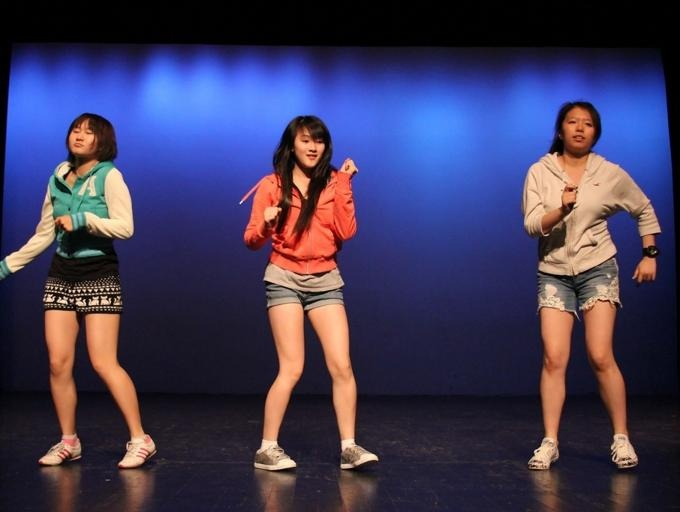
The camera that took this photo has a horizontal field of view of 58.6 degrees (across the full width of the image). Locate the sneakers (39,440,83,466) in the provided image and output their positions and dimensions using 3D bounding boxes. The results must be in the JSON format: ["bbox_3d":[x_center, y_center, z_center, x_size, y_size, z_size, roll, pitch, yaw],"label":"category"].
[{"bbox_3d":[-1.544,1.066,3.295,0.090,0.110,0.254,-7,-9,35],"label":"sneakers"}]

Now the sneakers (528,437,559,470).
[{"bbox_3d":[1.123,1.070,3.313,0.107,0.130,0.313,-3,0,43],"label":"sneakers"}]

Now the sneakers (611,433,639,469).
[{"bbox_3d":[1.566,1.050,3.282,0.185,0.163,0.153,0,-2,-3],"label":"sneakers"}]

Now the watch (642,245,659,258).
[{"bbox_3d":[1.751,-0.022,3.426,0.086,0.053,0.094,1,1,-4],"label":"watch"}]

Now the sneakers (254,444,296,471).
[{"bbox_3d":[-0.346,1.068,3.227,0.250,0.109,0.098,-7,-11,41],"label":"sneakers"}]

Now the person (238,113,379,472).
[{"bbox_3d":[-0.181,0.184,3.338,0.672,1.927,0.484,0,-2,-9],"label":"person"}]

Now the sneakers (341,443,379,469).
[{"bbox_3d":[0.095,1.063,3.222,0.094,0.108,0.250,11,-26,-39],"label":"sneakers"}]

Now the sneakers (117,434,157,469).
[{"bbox_3d":[-1.095,1.050,3.259,0.122,0.143,0.165,0,-2,11],"label":"sneakers"}]

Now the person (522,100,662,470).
[{"bbox_3d":[1.358,0.122,3.408,0.767,2.058,0.556,1,-2,-37],"label":"person"}]

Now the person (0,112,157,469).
[{"bbox_3d":[-1.415,0.154,3.378,0.715,1.952,0.516,-2,-2,42],"label":"person"}]
